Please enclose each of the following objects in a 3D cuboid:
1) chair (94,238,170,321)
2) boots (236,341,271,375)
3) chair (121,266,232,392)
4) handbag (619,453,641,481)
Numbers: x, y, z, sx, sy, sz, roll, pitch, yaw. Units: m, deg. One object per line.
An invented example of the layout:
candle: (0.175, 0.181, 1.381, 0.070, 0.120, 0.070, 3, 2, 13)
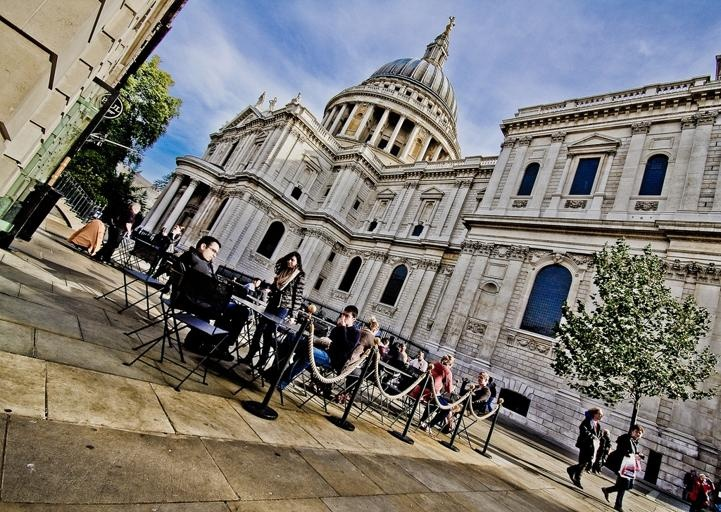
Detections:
chair: (-4.880, 0.515, 9.239, 0.903, 1.105, 0.803, 41, -6, -12)
boots: (-2.170, 2.058, 8.672, 0.522, 0.572, 1.245, 23, -10, -10)
chair: (-2.793, 1.014, 6.575, 1.159, 1.429, 1.234, 21, -8, 23)
handbag: (6.531, 5.106, 10.378, 0.694, 0.634, 0.287, 28, -12, -35)
